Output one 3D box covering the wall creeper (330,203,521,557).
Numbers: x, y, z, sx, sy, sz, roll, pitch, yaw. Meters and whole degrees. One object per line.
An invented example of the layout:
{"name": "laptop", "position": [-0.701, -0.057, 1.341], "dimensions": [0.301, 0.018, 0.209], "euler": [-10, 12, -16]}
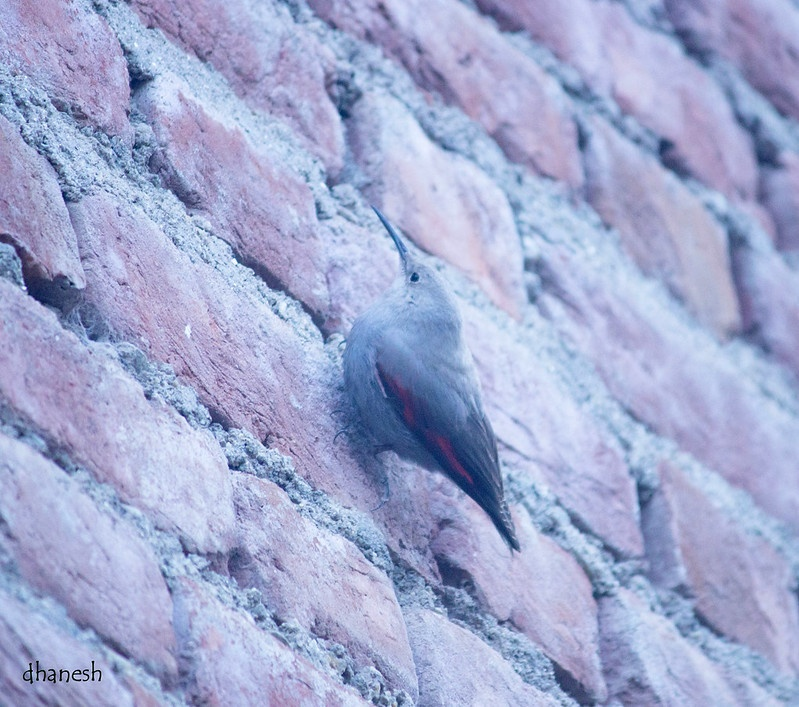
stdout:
{"name": "wall creeper", "position": [0.130, 0.075, 6.267], "dimensions": [0.644, 0.827, 0.372], "euler": [18, 16, 0]}
